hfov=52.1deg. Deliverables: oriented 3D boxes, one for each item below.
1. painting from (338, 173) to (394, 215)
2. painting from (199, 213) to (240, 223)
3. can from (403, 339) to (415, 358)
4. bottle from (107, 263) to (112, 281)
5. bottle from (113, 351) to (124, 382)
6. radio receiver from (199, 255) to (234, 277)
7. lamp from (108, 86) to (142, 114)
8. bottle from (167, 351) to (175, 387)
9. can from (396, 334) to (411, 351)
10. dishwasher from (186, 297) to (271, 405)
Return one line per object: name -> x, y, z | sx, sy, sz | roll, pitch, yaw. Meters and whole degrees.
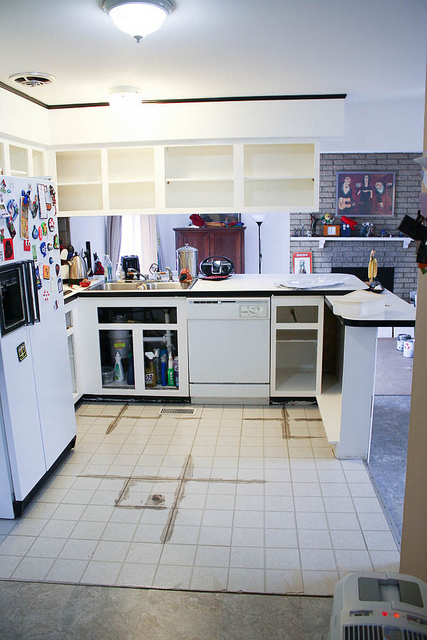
painting -> 2.149, -1.786, 6.192 | 0.756, 0.547, 0.087 | -1, 8, 2
painting -> 0.117, -1.611, 6.909 | 0.668, 0.133, 0.219 | -3, 9, -12
can -> 2.135, 0.312, 4.782 | 0.090, 0.197, 0.178 | 2, 9, 17
bottle -> -0.905, -0.415, 3.825 | 0.030, 0.143, 0.058 | 2, 8, 19
bottle -> -0.797, 0.402, 3.675 | 0.080, 0.251, 0.079 | -1, 8, 0
radio receiver -> 0.045, -0.484, 3.960 | 0.249, 0.174, 0.266 | 6, 11, 40
lamp -> -0.639, -1.583, 3.148 | 0.173, 0.126, 0.175 | -11, 21, -36
bottle -> -0.352, 0.402, 3.567 | 0.067, 0.292, 0.043 | 7, 11, 44
can -> 2.147, 0.237, 4.974 | 0.147, 0.190, 0.174 | 6, 23, 18
dishwasher -> 0.110, 0.158, 3.529 | 0.611, 0.816, 0.530 | 0, 12, -9
